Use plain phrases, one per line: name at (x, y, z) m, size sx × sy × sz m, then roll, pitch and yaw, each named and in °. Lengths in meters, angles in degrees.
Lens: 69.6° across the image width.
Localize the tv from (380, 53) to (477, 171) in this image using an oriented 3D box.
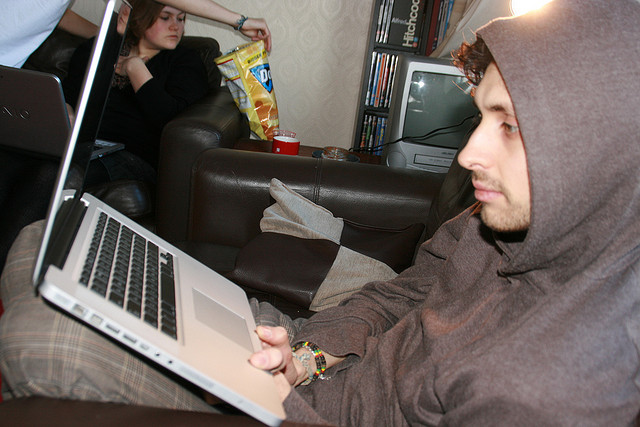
tv at (0.561, -0.409, 2.294) m, size 0.443 × 0.610 × 0.339 m, roll 5°, pitch 0°, yaw -8°

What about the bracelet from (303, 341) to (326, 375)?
bracelet at (0.001, 0.369, 1.164) m, size 0.022 × 0.059 × 0.066 m, roll -19°, pitch 32°, yaw -32°

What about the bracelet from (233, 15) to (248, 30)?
bracelet at (-0.377, -0.915, 2.206) m, size 0.015 × 0.058 × 0.059 m, roll 34°, pitch 45°, yaw -12°

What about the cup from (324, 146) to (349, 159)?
cup at (0.071, -0.285, 2.161) m, size 0.071 × 0.031 × 0.074 m, roll 6°, pitch 8°, yaw -1°

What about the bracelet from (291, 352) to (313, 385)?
bracelet at (-0.029, 0.392, 1.146) m, size 0.069 × 0.070 × 0.025 m, roll -5°, pitch 3°, yaw 3°

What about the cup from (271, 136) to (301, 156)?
cup at (-0.153, -0.305, 2.130) m, size 0.121 × 0.090 × 0.124 m, roll 8°, pitch 30°, yaw -5°

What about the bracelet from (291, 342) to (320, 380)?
bracelet at (-0.018, 0.375, 1.144) m, size 0.022 × 0.087 × 0.085 m, roll -9°, pitch 13°, yaw -43°
